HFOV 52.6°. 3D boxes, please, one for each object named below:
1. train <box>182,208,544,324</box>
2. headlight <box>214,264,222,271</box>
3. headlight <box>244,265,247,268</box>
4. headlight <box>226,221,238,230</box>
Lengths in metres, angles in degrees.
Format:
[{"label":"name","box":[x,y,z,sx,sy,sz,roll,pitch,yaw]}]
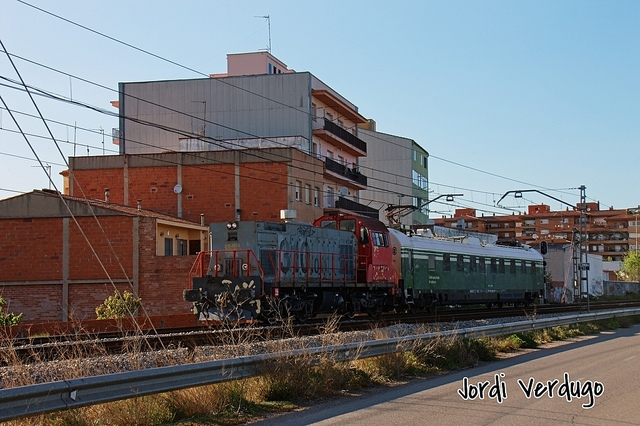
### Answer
[{"label":"train","box":[4.743,2.939,32.733,22.866,4.287,3.584,5,-10,-39]},{"label":"headlight","box":[-3.903,2.087,24.746,0.250,0.266,0.083,4,-3,0]},{"label":"headlight","box":[-2.790,2.014,24.254,0.056,0.099,0.053,1,3,7]},{"label":"headlight","box":[-3.359,0.357,25.094,0.501,0.445,0.267,0,-9,21]}]
